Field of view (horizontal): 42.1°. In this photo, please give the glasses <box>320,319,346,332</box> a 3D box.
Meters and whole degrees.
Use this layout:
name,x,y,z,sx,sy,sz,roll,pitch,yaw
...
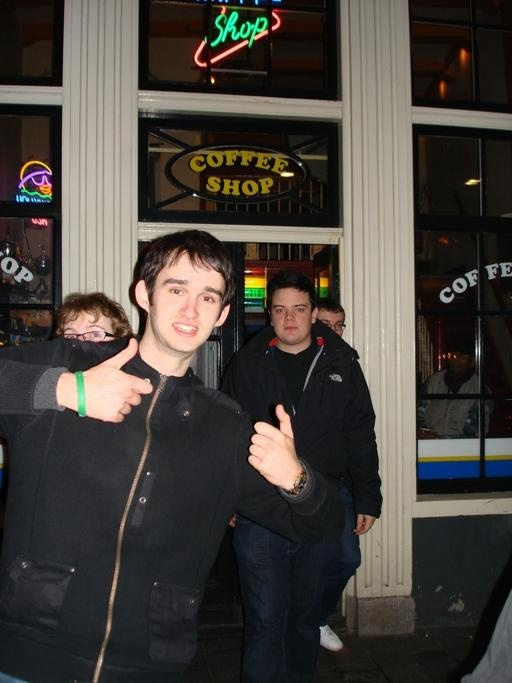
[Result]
name,x,y,z,sx,sy,sz,roll,pitch,yaw
glasses,0.493,-0.088,4.018,0.091,0.035,0.108,6,14,-22

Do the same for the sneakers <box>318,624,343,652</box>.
name,x,y,z,sx,sy,sz,roll,pitch,yaw
sneakers,0.413,1.696,3.800,0.100,0.088,0.197,22,-20,-21

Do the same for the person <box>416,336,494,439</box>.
name,x,y,z,sx,sy,sz,roll,pitch,yaw
person,1.308,0.392,4.397,0.507,0.764,0.446,8,8,1
